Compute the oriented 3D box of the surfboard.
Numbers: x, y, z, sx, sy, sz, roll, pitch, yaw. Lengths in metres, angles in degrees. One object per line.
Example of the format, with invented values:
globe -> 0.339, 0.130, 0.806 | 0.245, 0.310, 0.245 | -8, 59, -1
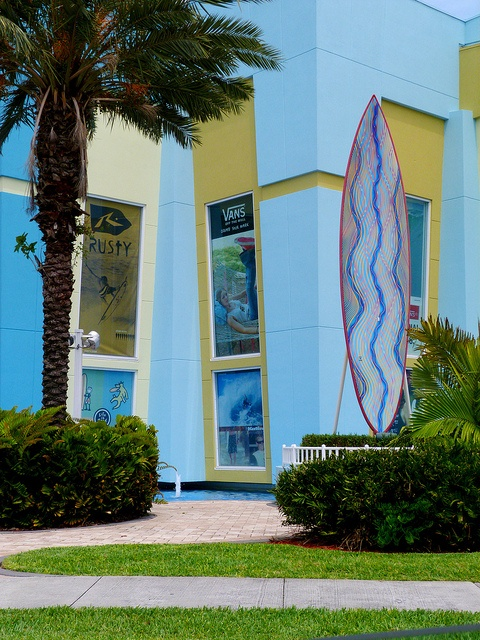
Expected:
surfboard -> 2.449, -0.999, 16.583 | 0.467, 6.166, 1.755 | -7, -10, 44
